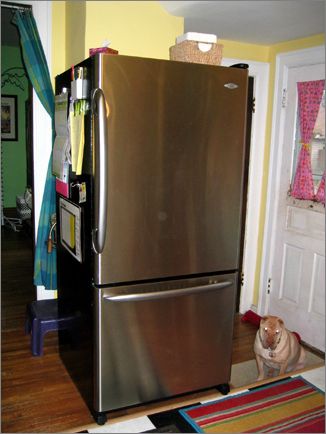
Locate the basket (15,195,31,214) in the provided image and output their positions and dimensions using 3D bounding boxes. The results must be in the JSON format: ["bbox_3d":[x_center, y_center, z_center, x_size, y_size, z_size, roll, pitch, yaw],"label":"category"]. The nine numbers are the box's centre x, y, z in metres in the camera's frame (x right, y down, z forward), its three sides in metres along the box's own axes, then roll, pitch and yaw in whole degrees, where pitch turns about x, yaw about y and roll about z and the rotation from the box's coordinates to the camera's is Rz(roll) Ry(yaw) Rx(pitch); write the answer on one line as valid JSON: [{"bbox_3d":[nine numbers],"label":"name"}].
[{"bbox_3d":[-2.416,-0.319,5.901,0.244,0.322,0.446,-3,12,-18],"label":"basket"}]

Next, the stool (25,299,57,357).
[{"bbox_3d":[-0.753,0.704,2.298,0.293,0.248,0.303,-4,16,-22],"label":"stool"}]

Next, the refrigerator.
[{"bbox_3d":[-0.005,0.137,1.573,0.847,1.648,0.485,0,3,-20],"label":"refrigerator"}]

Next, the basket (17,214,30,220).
[{"bbox_3d":[-2.309,-0.007,5.754,0.112,0.052,0.155,-1,10,7],"label":"basket"}]
